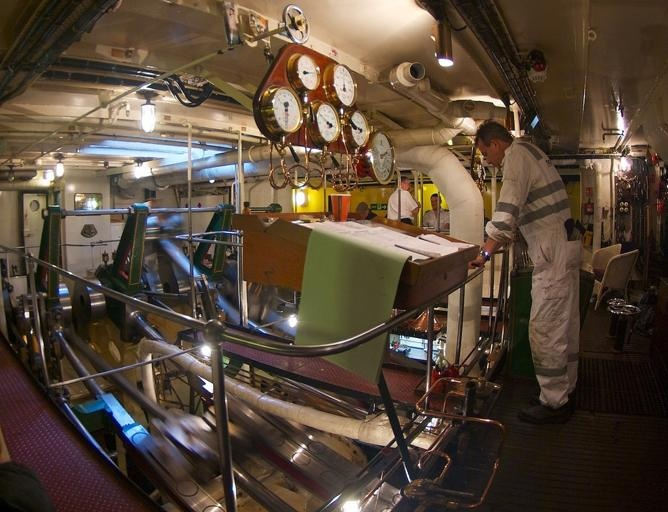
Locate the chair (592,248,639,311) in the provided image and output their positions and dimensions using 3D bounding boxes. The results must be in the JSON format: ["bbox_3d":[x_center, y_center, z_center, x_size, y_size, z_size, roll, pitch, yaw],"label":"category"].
[{"bbox_3d":[4.149,0.330,7.331,0.666,0.855,0.708,2,-1,22],"label":"chair"}]

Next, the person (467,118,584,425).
[{"bbox_3d":[1.598,0.175,3.930,0.721,2.211,0.565,-1,6,18],"label":"person"}]

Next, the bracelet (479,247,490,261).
[{"bbox_3d":[1.131,-0.012,3.674,0.072,0.054,0.092,3,31,12],"label":"bracelet"}]
